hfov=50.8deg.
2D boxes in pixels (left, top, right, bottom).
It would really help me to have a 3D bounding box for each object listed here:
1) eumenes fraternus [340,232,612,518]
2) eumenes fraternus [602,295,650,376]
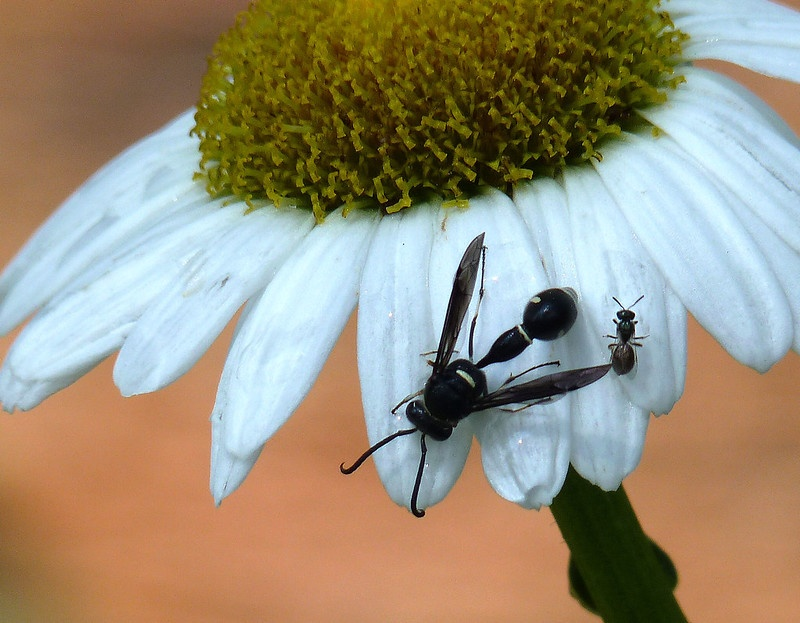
[{"bbox_3d":[0.066,0.063,0.883,0.294,0.079,0.207,-42,-68,13],"label":"eumenes fraternus"},{"bbox_3d":[0.228,0.022,0.820,0.040,0.068,0.020,4,7,9],"label":"eumenes fraternus"}]
